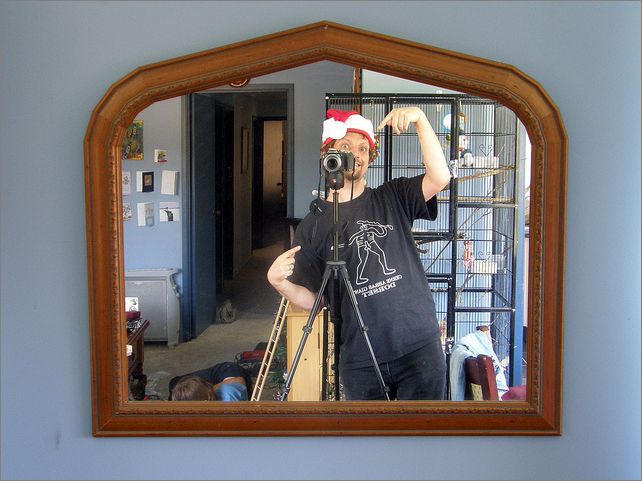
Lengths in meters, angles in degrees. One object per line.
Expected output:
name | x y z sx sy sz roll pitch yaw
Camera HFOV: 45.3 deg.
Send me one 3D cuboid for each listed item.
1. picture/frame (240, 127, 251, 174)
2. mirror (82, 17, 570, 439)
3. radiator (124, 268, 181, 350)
picture/frame | -0.213 -0.247 2.115 0.006 0.120 0.044 2 3 20
mirror | 0.014 -0.042 2.135 1.067 0.983 0.024 0 -1 -3
radiator | -0.457 0.183 2.102 0.193 0.230 0.121 0 6 6
